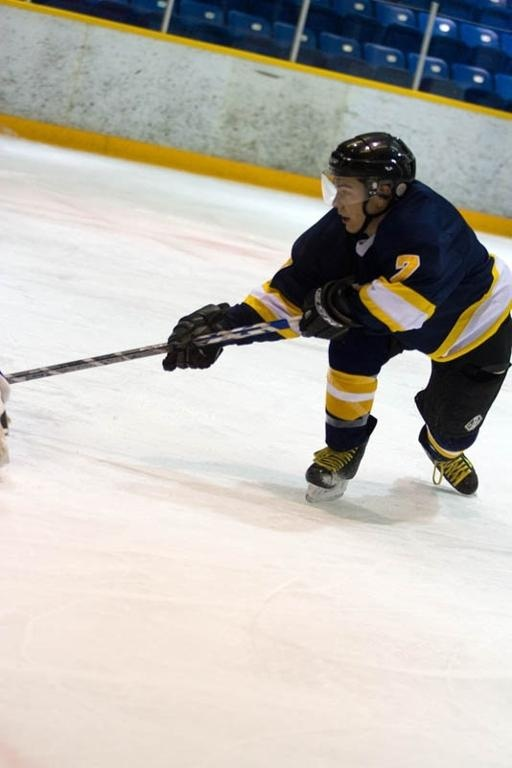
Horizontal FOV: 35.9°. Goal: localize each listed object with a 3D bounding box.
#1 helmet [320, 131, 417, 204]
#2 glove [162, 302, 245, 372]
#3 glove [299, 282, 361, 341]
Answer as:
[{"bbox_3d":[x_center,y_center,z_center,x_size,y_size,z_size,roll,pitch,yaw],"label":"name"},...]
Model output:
[{"bbox_3d":[0.266,-0.525,1.919,0.244,0.153,0.167,-13,33,-19],"label":"helmet"},{"bbox_3d":[-0.153,-0.126,2.126,0.212,0.151,0.109,-37,56,-27],"label":"glove"},{"bbox_3d":[0.176,-0.172,1.941,0.106,0.158,0.137,55,-7,-9],"label":"glove"}]
